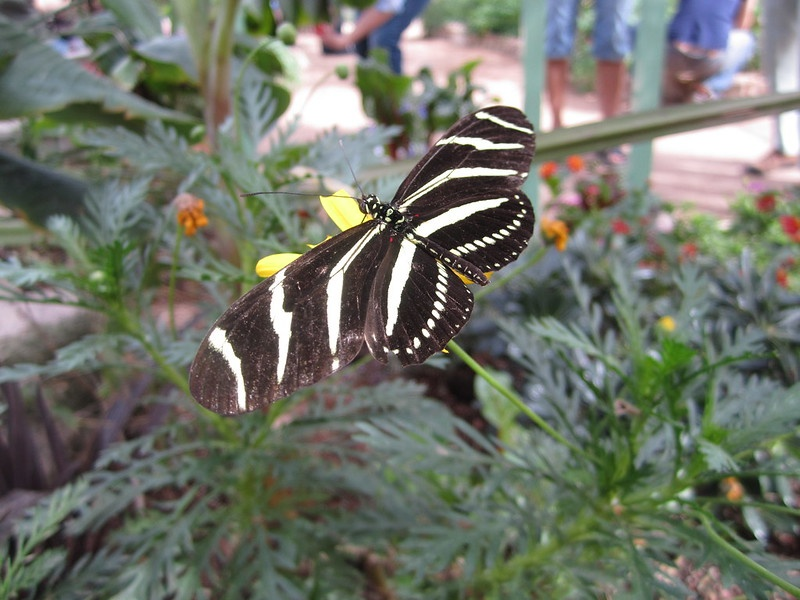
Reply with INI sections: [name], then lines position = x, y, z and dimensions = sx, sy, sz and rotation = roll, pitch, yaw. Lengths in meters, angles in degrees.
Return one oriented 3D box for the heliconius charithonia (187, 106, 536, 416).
[heliconius charithonia]
position = 0.030, -0.083, 0.775
dimensions = 0.185, 0.504, 0.045
rotation = 29, -23, 22
